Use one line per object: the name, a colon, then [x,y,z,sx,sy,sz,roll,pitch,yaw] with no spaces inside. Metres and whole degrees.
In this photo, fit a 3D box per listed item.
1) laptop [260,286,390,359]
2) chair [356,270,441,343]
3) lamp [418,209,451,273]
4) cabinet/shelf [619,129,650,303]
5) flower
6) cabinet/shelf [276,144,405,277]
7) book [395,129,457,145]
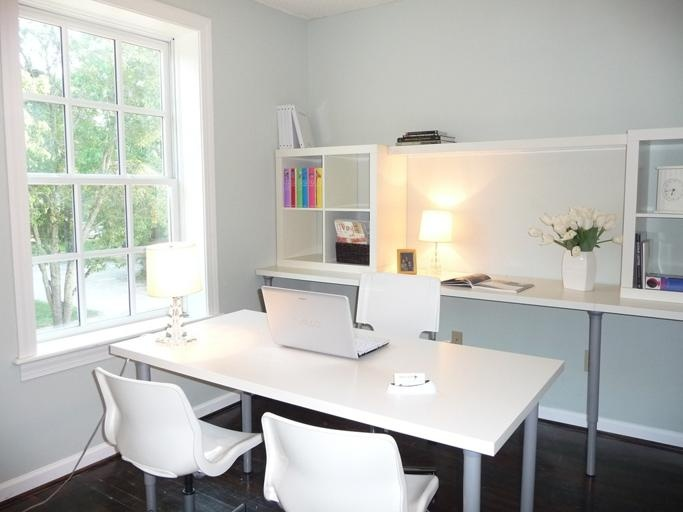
laptop: [-0.106,0.290,2.524,0.473,0.293,0.366,3,7,34]
chair: [0.376,0.287,3.389,0.404,0.681,0.445,3,0,19]
lamp: [0.719,-0.118,3.932,0.237,0.456,0.352,-2,8,12]
cabinet/shelf: [1.733,-0.244,3.113,0.128,0.982,0.151,0,9,21]
flower: [1.489,-0.166,3.350,0.381,0.228,0.379,-5,5,-38]
cabinet/shelf: [0.014,-0.363,4.001,0.960,0.932,0.501,4,8,39]
book: [0.608,-0.850,3.801,0.407,0.101,0.171,-2,8,11]
